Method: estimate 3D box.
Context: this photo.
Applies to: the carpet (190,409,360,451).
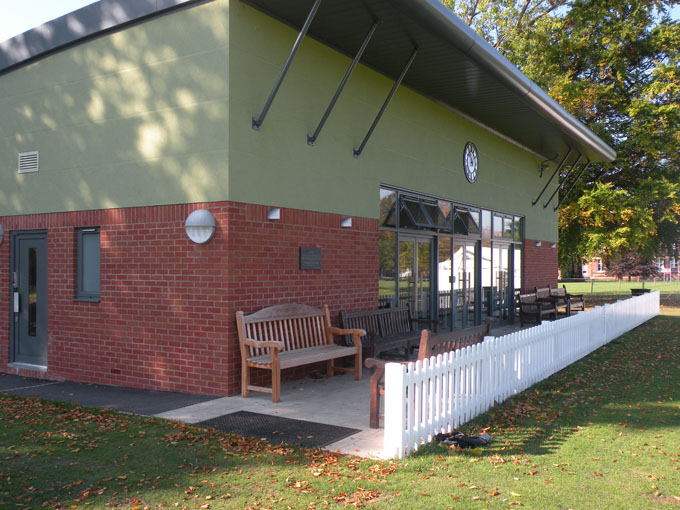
[{"bbox_3d":[-0.866,2.488,9.112,2.148,0.055,1.023,2,6,25],"label":"carpet"}]
